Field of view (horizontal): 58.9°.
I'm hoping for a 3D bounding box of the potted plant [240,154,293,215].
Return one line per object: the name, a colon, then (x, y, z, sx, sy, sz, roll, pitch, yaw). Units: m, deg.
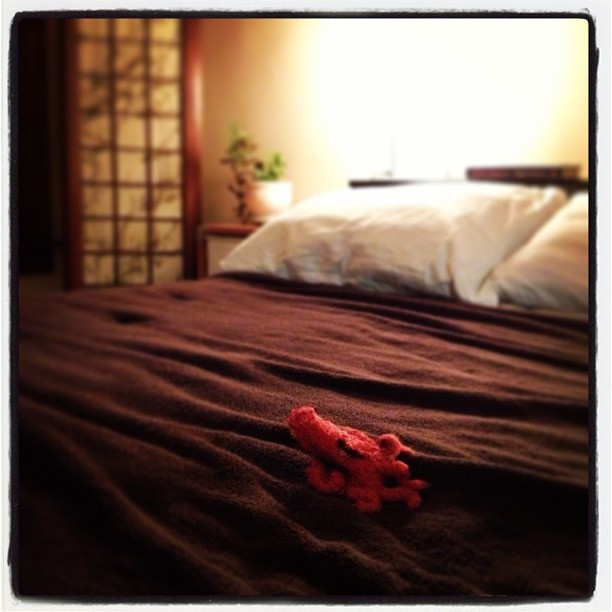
potted plant: (-0.070, -0.210, 0.957, 0.080, 0.124, 0.079, -9, 11, -43)
